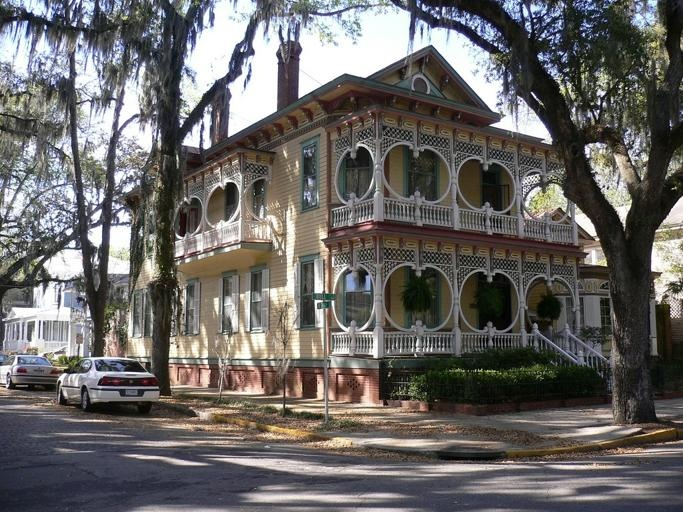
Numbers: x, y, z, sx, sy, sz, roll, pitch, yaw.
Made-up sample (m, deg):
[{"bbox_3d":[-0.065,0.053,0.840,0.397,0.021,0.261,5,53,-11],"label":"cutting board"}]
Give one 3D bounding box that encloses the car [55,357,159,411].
[{"bbox_3d":[-7.382,3.924,21.882,3.498,1.602,1.465,-9,-13,30],"label":"car"}]
